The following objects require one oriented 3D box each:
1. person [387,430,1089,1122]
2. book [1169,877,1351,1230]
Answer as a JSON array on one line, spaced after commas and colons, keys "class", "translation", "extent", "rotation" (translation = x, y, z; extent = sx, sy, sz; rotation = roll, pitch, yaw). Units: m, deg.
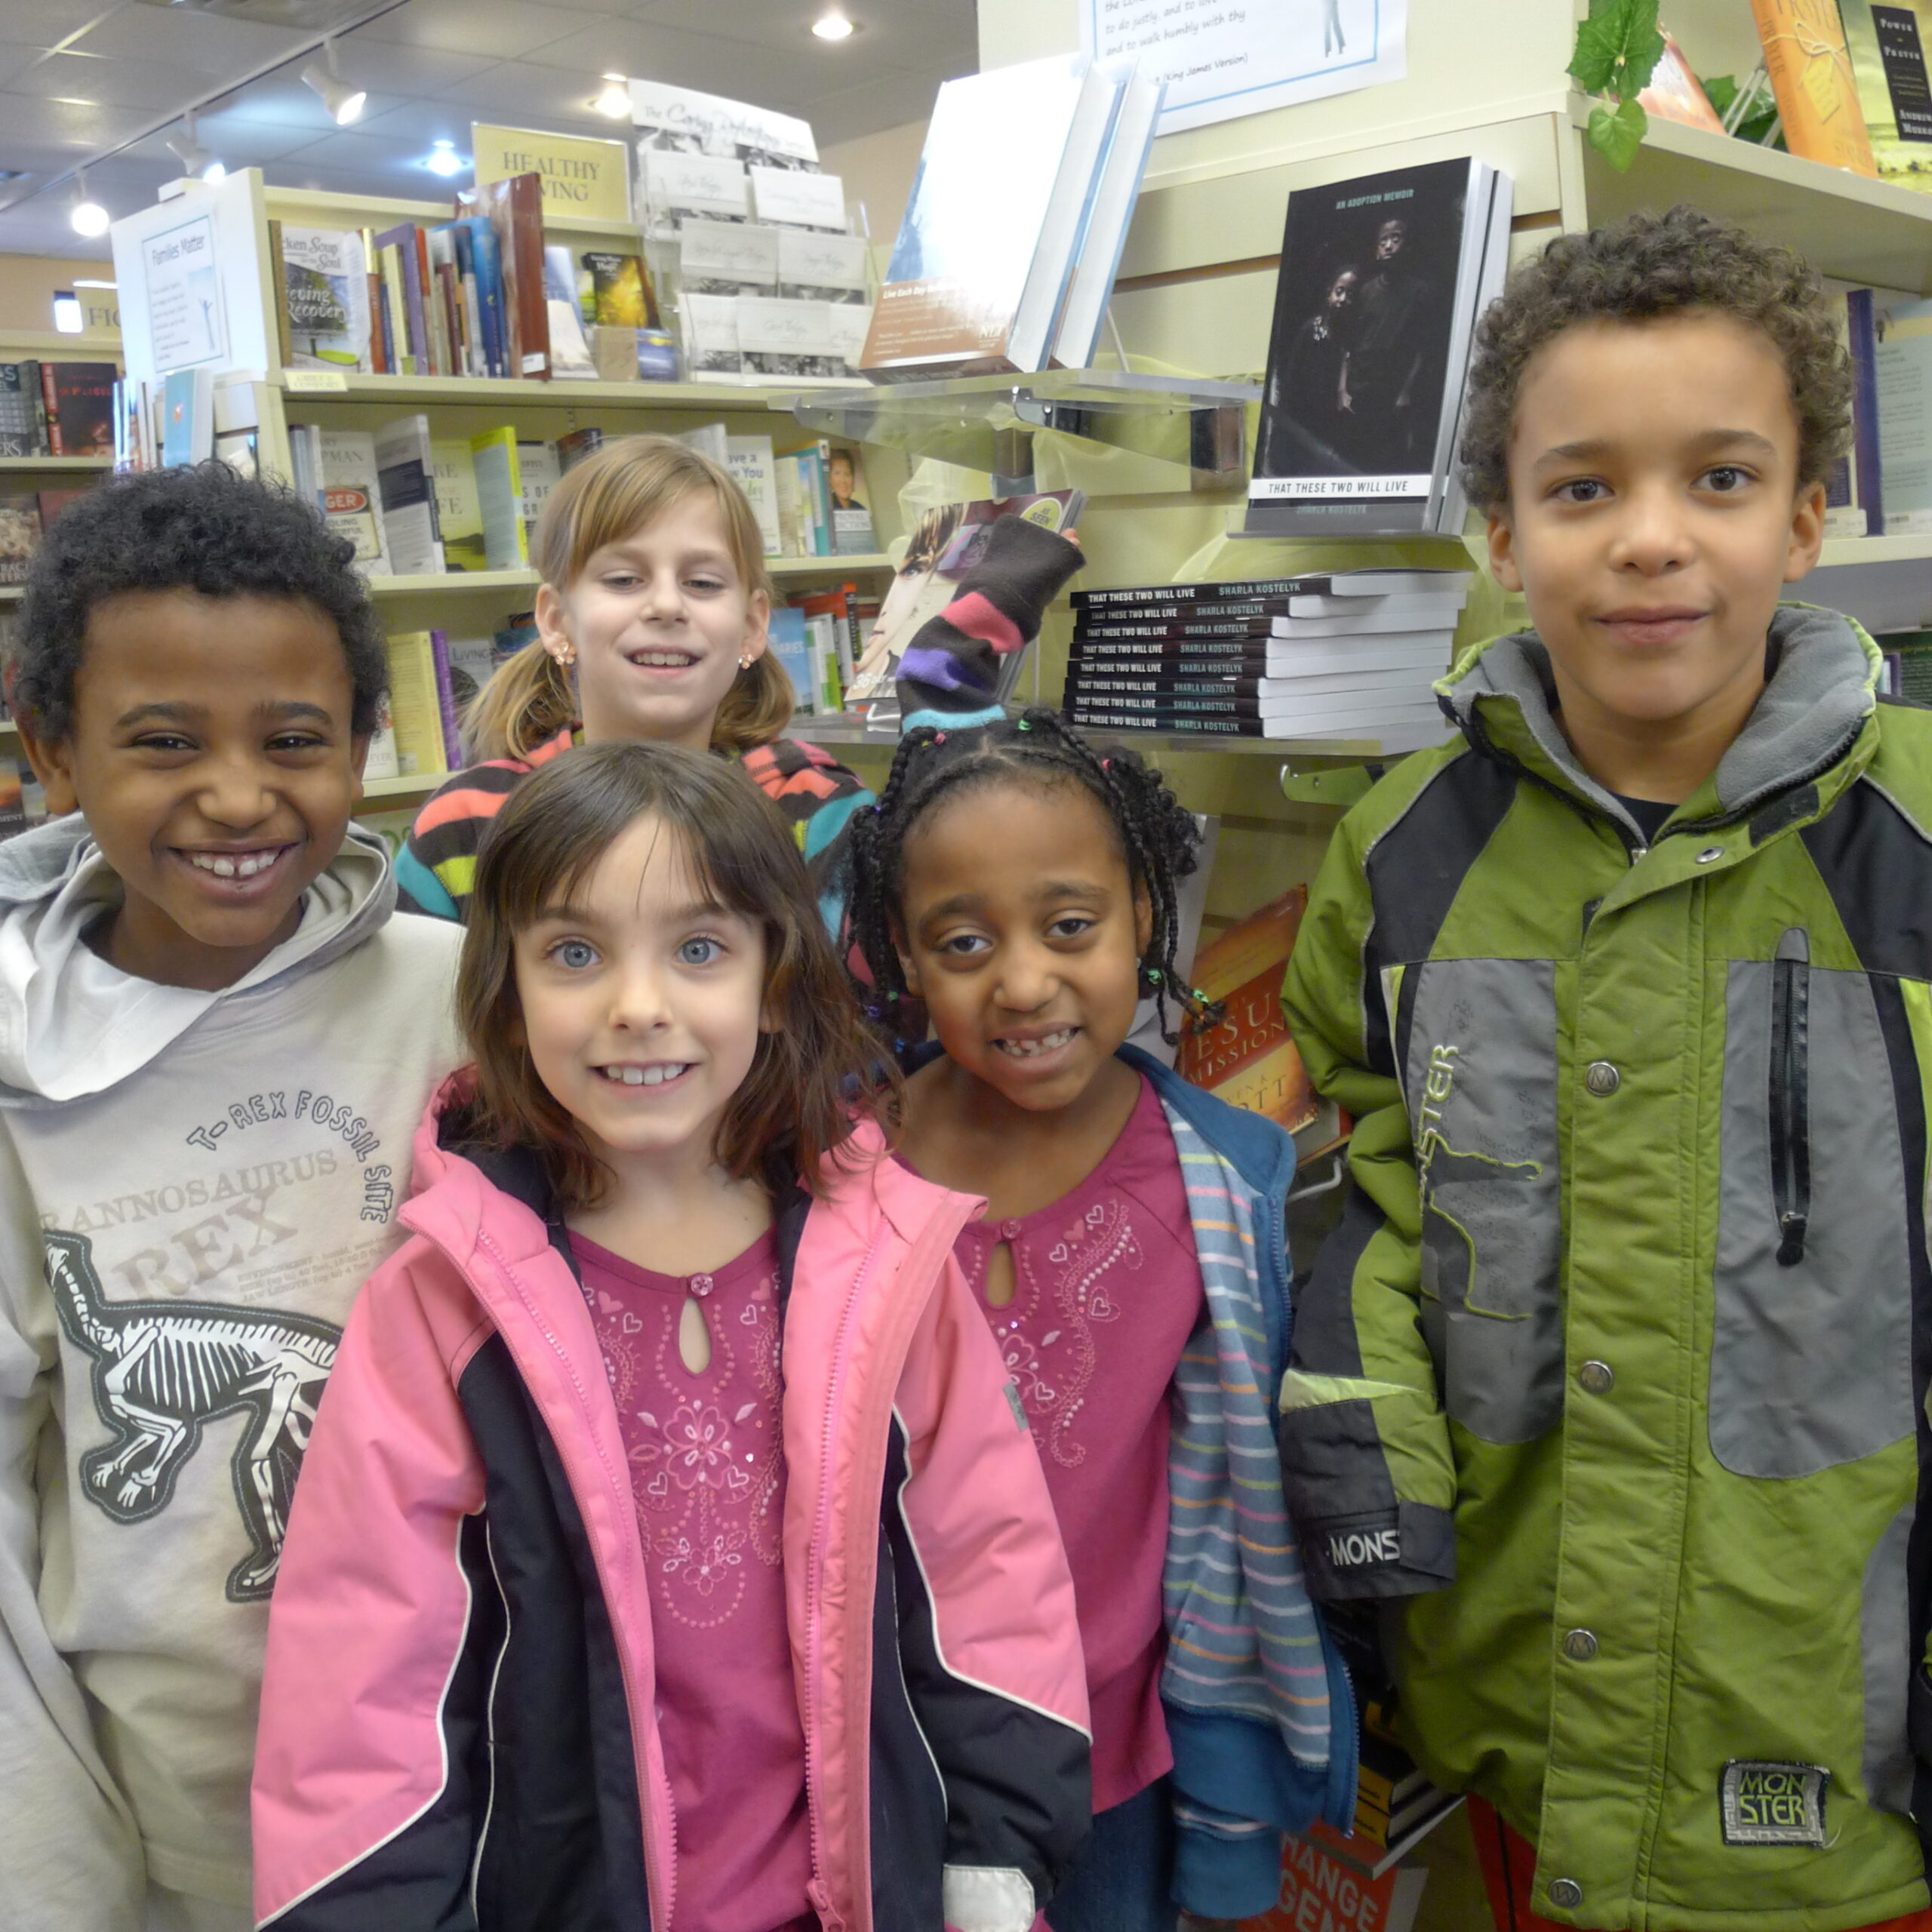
[{"class": "person", "translation": [-0.402, -0.192, 2.089], "extent": [1.149, 0.753, 0.271], "rotation": [-6, 13, -9]}, {"class": "book", "translation": [0.362, 0.101, 1.897], "extent": [0.085, 0.315, 0.348], "rotation": [34, -45, -26]}]
